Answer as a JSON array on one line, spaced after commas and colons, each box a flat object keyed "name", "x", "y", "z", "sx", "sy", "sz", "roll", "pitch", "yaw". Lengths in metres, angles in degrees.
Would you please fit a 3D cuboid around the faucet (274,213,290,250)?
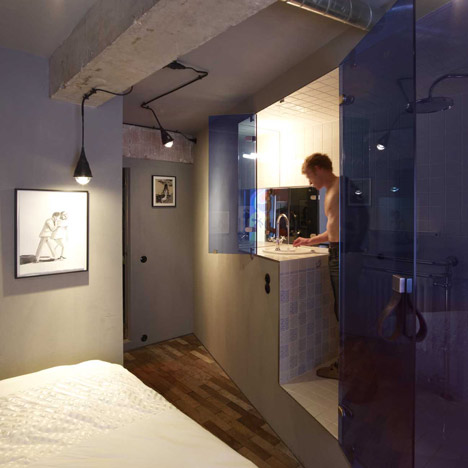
[{"name": "faucet", "x": 0.424, "y": -0.023, "z": 3.662, "sx": 0.120, "sy": 0.290, "sz": 0.432, "roll": 1, "pitch": 10, "yaw": 6}]

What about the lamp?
[{"name": "lamp", "x": -0.578, "y": -0.761, "z": 2.975, "sx": 0.799, "sy": 0.758, "sz": 1.402, "roll": 0, "pitch": 11, "yaw": 1}]
